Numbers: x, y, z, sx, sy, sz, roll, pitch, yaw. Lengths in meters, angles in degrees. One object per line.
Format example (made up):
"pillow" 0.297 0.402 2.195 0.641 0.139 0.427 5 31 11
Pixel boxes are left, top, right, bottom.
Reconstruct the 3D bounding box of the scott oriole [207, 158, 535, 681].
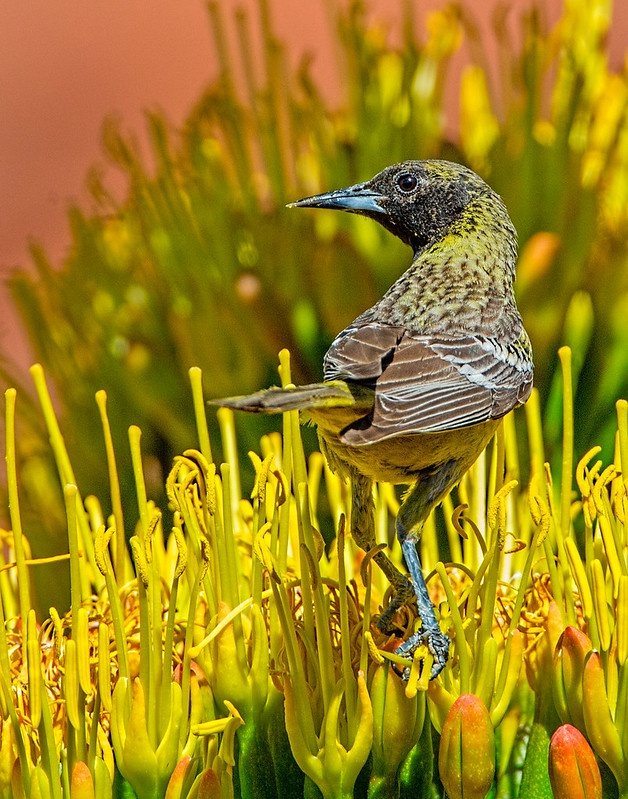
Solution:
"scott oriole" 0.131 -0.021 1.818 0.279 0.534 0.758 -17 -10 22
